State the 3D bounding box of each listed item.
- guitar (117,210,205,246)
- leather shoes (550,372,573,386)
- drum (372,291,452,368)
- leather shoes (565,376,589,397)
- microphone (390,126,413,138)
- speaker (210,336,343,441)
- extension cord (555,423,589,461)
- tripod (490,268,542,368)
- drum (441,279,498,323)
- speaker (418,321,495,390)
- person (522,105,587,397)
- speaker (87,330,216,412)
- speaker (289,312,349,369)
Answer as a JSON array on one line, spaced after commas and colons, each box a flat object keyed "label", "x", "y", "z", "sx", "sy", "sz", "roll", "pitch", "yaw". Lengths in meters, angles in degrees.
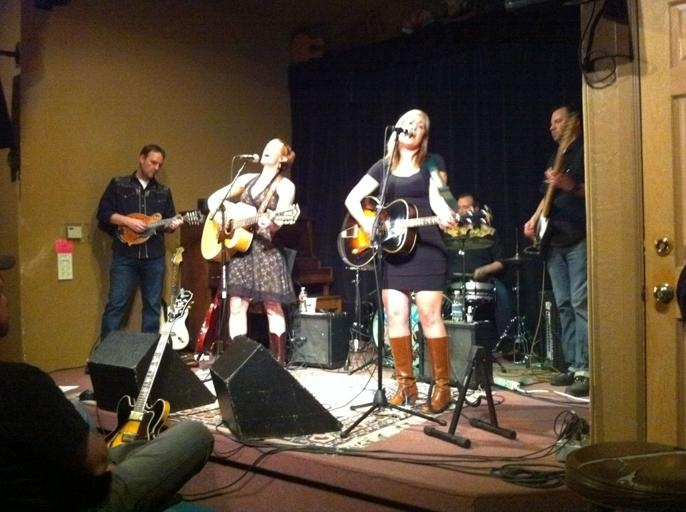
[{"label": "guitar", "x": -1.786, "y": -0.287, "z": 6.124, "sx": 0.771, "sy": 0.357, "sz": 0.468, "roll": 1, "pitch": 7, "yaw": -8}, {"label": "leather shoes", "x": 1.788, "y": 0.997, "z": 5.162, "sx": 0.230, "sy": 0.098, "sz": 0.082, "roll": 1, "pitch": -6, "yaw": -26}, {"label": "drum", "x": 0.523, "y": 0.675, "z": 5.916, "sx": 0.630, "sy": 0.773, "sz": 0.662, "roll": 0, "pitch": -1, "yaw": 19}, {"label": "leather shoes", "x": 1.841, "y": 0.985, "z": 4.857, "sx": 0.224, "sy": 0.086, "sz": 0.137, "roll": -6, "pitch": 8, "yaw": -39}, {"label": "microphone", "x": 0.384, "y": -0.821, "z": 4.140, "sx": 0.137, "sy": 0.062, "sz": 0.135, "roll": 3, "pitch": 7, "yaw": 5}, {"label": "speaker", "x": -0.423, "y": 0.788, "z": 4.375, "sx": 0.734, "sy": 0.627, "sz": 1.013, "roll": -4, "pitch": 5, "yaw": -10}, {"label": "extension cord", "x": 1.328, "y": 1.051, "z": 3.611, "sx": 0.226, "sy": 0.200, "sz": 0.112, "roll": 1, "pitch": 6, "yaw": -13}, {"label": "tripod", "x": 1.791, "y": 0.578, "z": 6.479, "sx": 0.332, "sy": 0.550, "sz": 0.341, "roll": -3, "pitch": 12, "yaw": -22}, {"label": "drum", "x": 1.241, "y": 0.421, "z": 6.047, "sx": 0.475, "sy": 0.398, "sz": 0.498, "roll": -3, "pitch": -10, "yaw": -1}, {"label": "speaker", "x": 0.826, "y": 0.757, "z": 5.191, "sx": 0.457, "sy": 0.470, "sz": 0.279, "roll": -3, "pitch": 10, "yaw": -23}, {"label": "person", "x": 1.764, "y": -0.081, "z": 5.053, "sx": 0.468, "sy": 2.236, "sz": 0.827, "roll": 2, "pitch": 6, "yaw": 2}, {"label": "speaker", "x": -1.437, "y": 0.749, "z": 4.539, "sx": 0.566, "sy": 0.451, "sz": 0.613, "roll": -2, "pitch": 7, "yaw": 36}, {"label": "speaker", "x": -0.416, "y": 0.846, "z": 6.182, "sx": 0.511, "sy": 0.540, "sz": 0.389, "roll": 7, "pitch": -15, "yaw": -39}]
